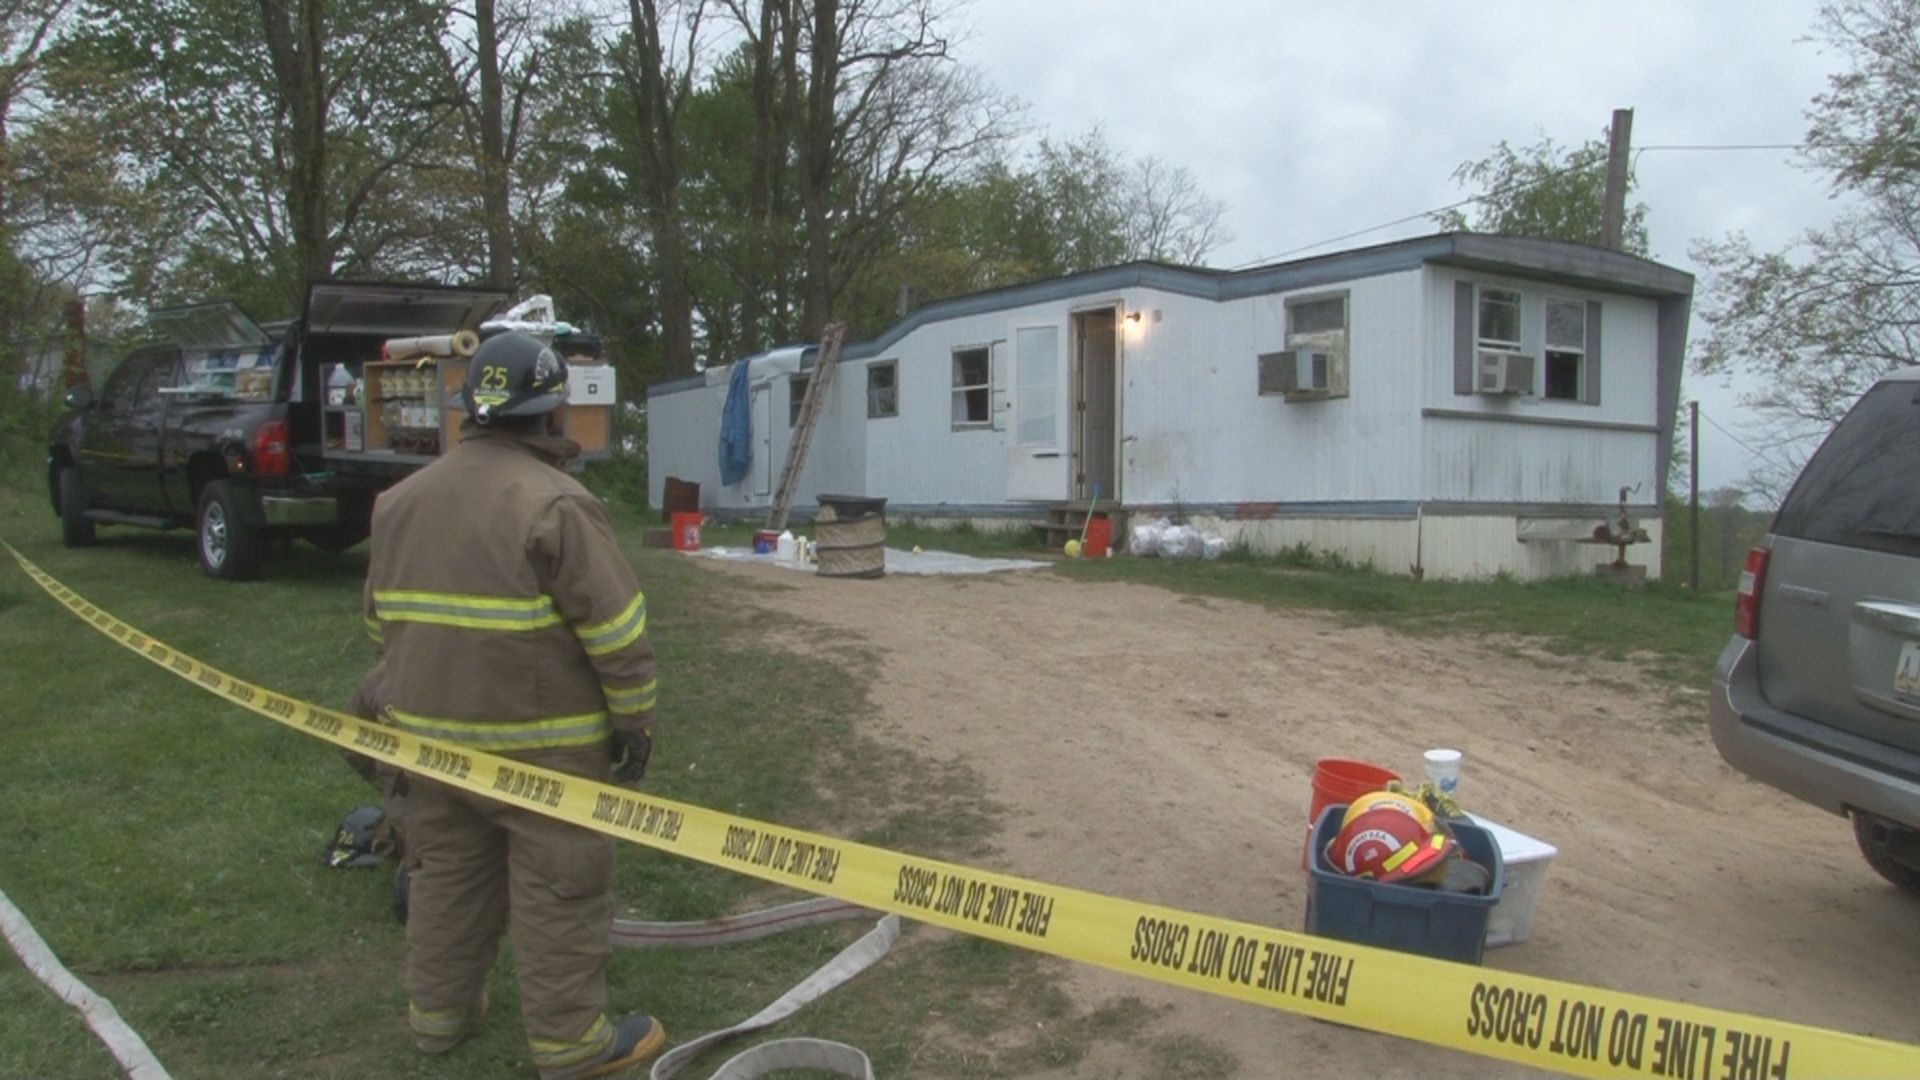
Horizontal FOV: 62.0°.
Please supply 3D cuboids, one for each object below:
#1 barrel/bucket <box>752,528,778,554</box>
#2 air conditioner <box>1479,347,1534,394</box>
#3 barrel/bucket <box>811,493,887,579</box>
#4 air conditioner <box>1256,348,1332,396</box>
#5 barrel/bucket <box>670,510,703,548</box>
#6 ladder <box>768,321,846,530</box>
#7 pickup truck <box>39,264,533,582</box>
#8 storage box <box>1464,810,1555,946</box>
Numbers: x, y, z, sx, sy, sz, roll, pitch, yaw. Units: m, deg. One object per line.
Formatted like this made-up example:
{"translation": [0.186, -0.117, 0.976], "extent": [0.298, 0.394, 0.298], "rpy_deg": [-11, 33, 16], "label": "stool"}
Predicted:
{"translation": [-2.751, 0.018, 22.584], "extent": [0.341, 0.294, 0.330], "rpy_deg": [1, -2, 0], "label": "barrel/bucket"}
{"translation": [7.370, -2.223, 21.513], "extent": [0.979, 0.644, 0.552], "rpy_deg": [-2, 3, -39], "label": "air conditioner"}
{"translation": [-1.462, -0.044, 20.813], "extent": [1.028, 0.996, 0.960], "rpy_deg": [2, 5, 0], "label": "barrel/bucket"}
{"translation": [4.549, -2.195, 21.600], "extent": [0.728, 0.474, 0.712], "rpy_deg": [-1, 3, -27], "label": "air conditioner"}
{"translation": [-4.008, -0.124, 23.414], "extent": [0.423, 0.530, 0.619], "rpy_deg": [2, 3, -12], "label": "barrel/bucket"}
{"translation": [-2.566, -1.947, 26.303], "extent": [0.730, 3.160, 1.565], "rpy_deg": [3, 3, 22], "label": "ladder"}
{"translation": [-8.384, -1.290, 19.171], "extent": [7.426, 2.994, 3.272], "rpy_deg": [3, 4, 43], "label": "pickup truck"}
{"translation": [4.409, 2.681, 12.725], "extent": [0.654, 0.976, 0.701], "rpy_deg": [1, -1, 10], "label": "storage box"}
